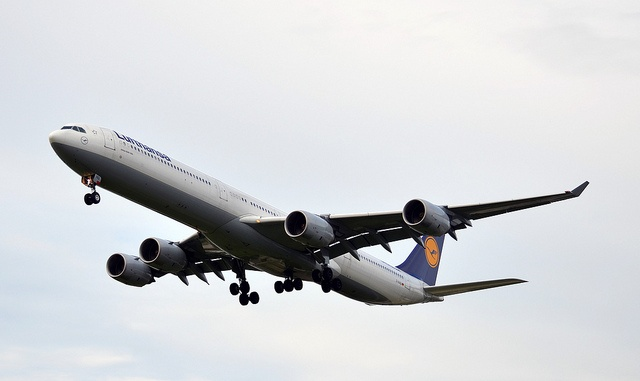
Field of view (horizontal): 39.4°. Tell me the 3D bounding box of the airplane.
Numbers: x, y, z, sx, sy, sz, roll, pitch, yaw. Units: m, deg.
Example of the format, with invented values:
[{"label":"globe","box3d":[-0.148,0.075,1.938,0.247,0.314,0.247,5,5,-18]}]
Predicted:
[{"label":"airplane","box3d":[-1.896,1.417,36.402,11.253,3.755,12.067,29,-35,-27]}]
